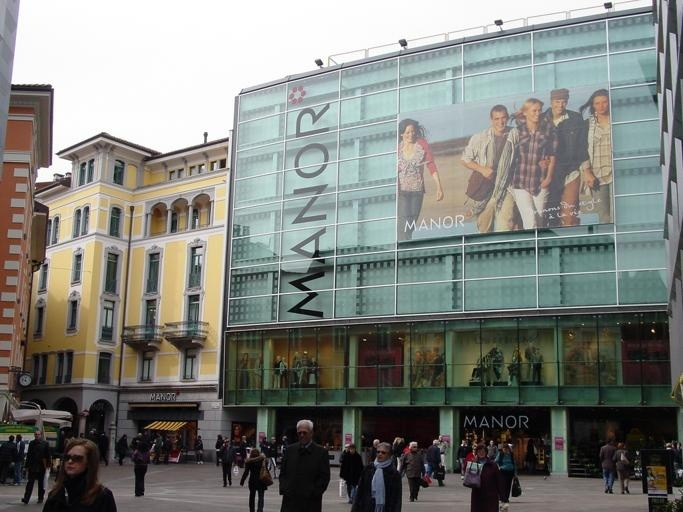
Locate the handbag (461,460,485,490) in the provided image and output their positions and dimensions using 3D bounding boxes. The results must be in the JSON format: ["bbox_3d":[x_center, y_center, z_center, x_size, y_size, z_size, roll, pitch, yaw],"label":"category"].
[{"bbox_3d":[3.213,5.288,19.942,0.539,0.643,0.354,2,-15,-9],"label":"handbag"}]
